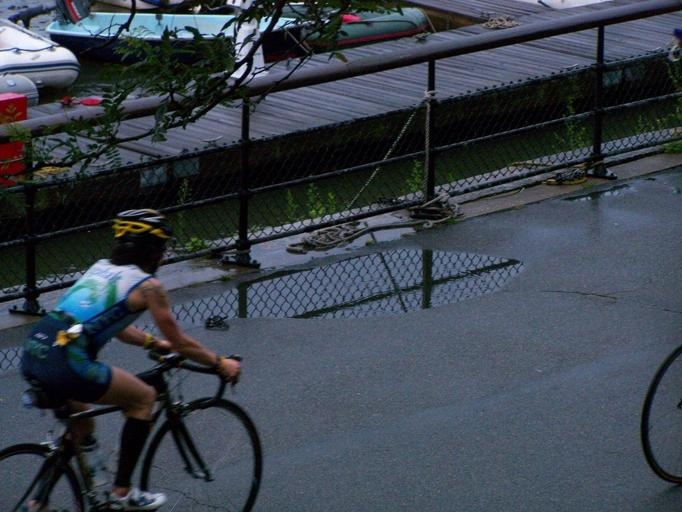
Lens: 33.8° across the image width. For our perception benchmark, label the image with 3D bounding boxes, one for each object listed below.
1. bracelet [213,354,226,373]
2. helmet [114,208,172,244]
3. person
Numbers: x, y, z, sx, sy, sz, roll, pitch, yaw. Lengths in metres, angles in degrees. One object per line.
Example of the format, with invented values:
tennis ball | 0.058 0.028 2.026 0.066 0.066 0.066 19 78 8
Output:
bracelet | -0.838 0.740 7.740 0.051 0.092 0.085 -2 17 3
helmet | -1.354 -0.214 7.631 0.385 0.138 0.226 1 23 -4
person | -1.477 0.736 7.601 1.311 2.069 0.379 -8 9 -5
